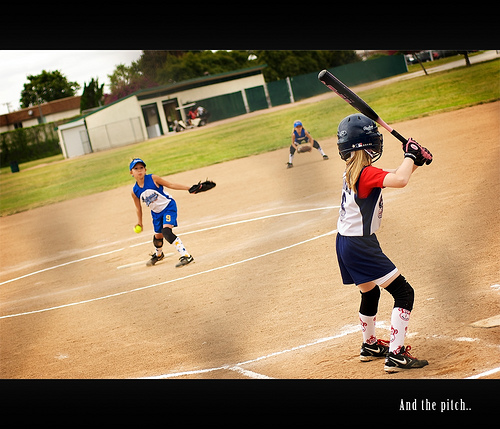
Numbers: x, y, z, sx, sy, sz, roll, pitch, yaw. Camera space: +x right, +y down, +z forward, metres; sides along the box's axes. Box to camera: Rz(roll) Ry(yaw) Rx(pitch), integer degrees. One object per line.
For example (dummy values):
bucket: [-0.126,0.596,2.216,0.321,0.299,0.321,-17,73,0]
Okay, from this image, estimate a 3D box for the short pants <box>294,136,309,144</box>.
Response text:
short pants: [0.893,-1.286,11.779,0.114,0.095,0.307,-5,10,43]

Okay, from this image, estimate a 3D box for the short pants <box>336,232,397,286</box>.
short pants: [1.010,0.346,6.135,0.418,0.526,0.461,-12,6,-17]

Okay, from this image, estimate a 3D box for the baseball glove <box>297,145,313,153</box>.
baseball glove: [0.959,-1.136,11.817,0.168,0.136,0.137,-5,12,-9]

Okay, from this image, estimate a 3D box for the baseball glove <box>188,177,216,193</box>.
baseball glove: [-0.603,-0.378,8.741,0.372,0.145,0.126,-14,26,-14]

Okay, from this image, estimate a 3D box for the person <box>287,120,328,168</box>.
person: [0.915,-1.263,11.768,0.739,0.767,0.835,-13,13,5]

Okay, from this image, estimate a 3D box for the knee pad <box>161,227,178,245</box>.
knee pad: [-0.997,0.264,8.709,0.094,0.221,0.137,-41,19,-30]

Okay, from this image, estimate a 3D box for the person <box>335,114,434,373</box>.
person: [1.201,0.293,6.053,0.883,2.410,0.457,-14,9,5]

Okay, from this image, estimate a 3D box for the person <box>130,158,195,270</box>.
person: [-1.142,-0.023,8.762,0.825,1.022,0.454,-7,11,36]

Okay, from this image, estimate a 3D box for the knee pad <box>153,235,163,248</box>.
knee pad: [-1.201,0.347,8.971,0.125,0.205,0.155,-15,9,-9]
